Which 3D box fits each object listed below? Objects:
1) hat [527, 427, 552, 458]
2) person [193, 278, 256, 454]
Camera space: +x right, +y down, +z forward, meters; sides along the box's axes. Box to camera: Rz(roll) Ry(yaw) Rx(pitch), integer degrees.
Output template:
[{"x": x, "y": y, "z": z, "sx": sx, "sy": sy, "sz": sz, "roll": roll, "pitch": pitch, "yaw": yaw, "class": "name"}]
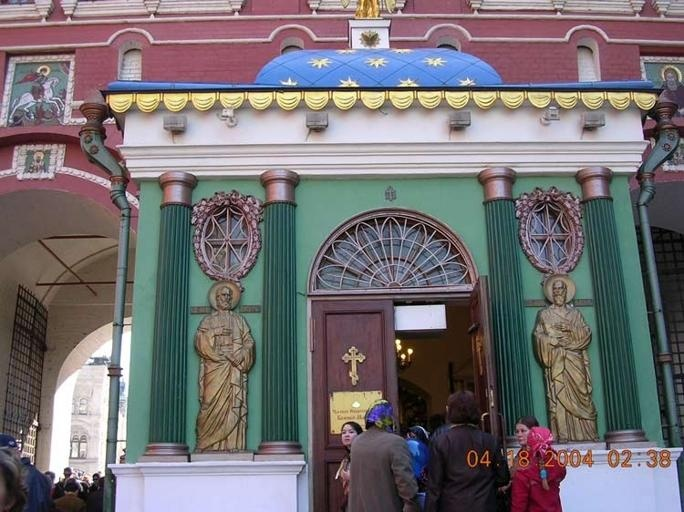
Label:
[{"x": 1.872, "y": 1.761, "z": 6.395, "sx": 0.170, "sy": 0.238, "sz": 0.238, "roll": -1, "pitch": -29, "yaw": 23, "class": "hat"}, {"x": -1.570, "y": 1.429, "z": 8.970, "sx": 0.745, "sy": 2.169, "sz": 0.352, "roll": 2, "pitch": -19, "yaw": -13, "class": "person"}]
